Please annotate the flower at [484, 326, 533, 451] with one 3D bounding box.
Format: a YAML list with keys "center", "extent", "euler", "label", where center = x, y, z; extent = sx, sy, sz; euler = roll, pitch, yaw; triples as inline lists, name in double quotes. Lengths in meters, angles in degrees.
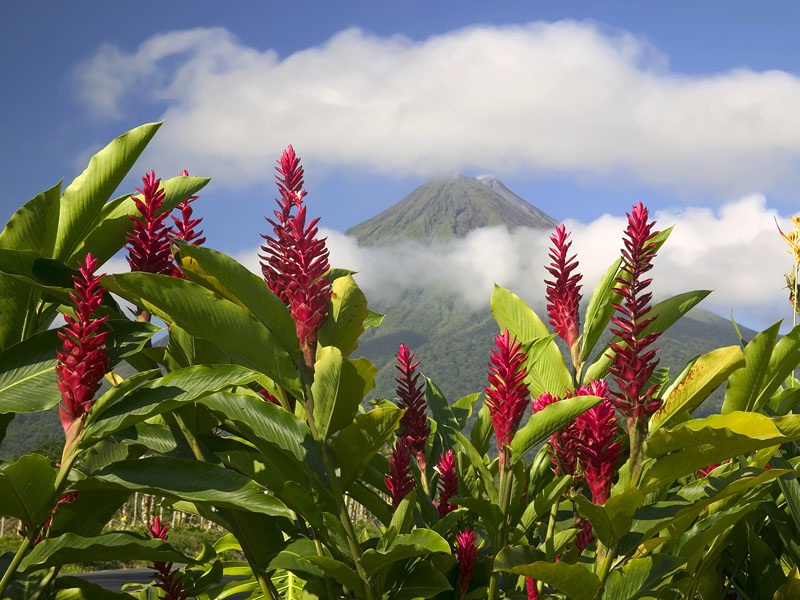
- center: [0.407, 0.334, 2.972]
  extent: [0.168, 0.460, 0.238]
  euler: [-4, -12, 5]
  label: "flower"

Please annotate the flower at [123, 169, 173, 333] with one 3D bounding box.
- center: [-0.952, -0.261, 2.988]
  extent: [0.181, 0.614, 0.700]
  euler: [2, -14, -19]
  label: "flower"

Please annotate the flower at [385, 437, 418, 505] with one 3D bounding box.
- center: [-0.005, 0.725, 3.305]
  extent: [0.119, 0.280, 0.187]
  euler: [-2, -12, -1]
  label: "flower"

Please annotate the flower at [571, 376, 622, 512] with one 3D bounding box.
- center: [0.767, 0.536, 3.013]
  extent: [0.173, 0.485, 0.520]
  euler: [-5, -13, 12]
  label: "flower"

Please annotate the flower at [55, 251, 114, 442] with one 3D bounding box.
- center: [-1.133, 0.168, 2.792]
  extent: [0.172, 0.663, 0.233]
  euler: [2, -13, -22]
  label: "flower"

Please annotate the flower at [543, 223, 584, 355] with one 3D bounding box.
- center: [0.712, -0.063, 3.396]
  extent: [0.152, 0.524, 0.456]
  euler: [-5, -13, 11]
  label: "flower"
